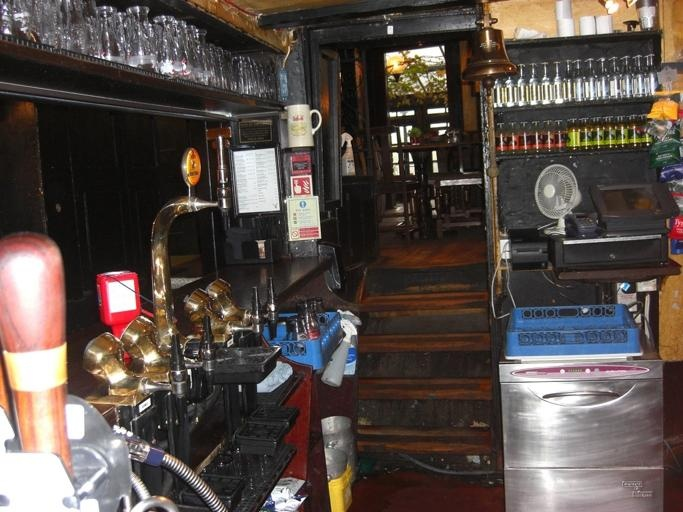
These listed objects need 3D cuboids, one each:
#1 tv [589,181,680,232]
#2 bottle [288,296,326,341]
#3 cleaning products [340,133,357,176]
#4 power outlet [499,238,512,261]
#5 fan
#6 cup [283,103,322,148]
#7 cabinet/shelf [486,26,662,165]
[{"bbox_3d":[1.704,-0.279,3.637,0.452,0.273,0.315,-3,7,20],"label":"tv"},{"bbox_3d":[-0.173,0.312,3.050,0.172,0.246,0.167,-3,2,0],"label":"bottle"},{"bbox_3d":[0.092,-1.127,7.012,0.097,0.459,0.291,-3,8,25],"label":"cleaning products"},{"bbox_3d":[1.055,-0.032,3.996,0.071,0.152,0.156,-5,7,13],"label":"power outlet"},{"bbox_3d":[1.377,-0.356,3.942,0.268,0.423,0.188,-4,7,14],"label":"fan"},{"bbox_3d":[-0.251,-0.870,4.204,0.238,0.290,0.207,-6,7,-4],"label":"cup"},{"bbox_3d":[1.574,-1.073,4.261,1.165,0.688,0.380,-5,11,-7],"label":"cabinet/shelf"}]
